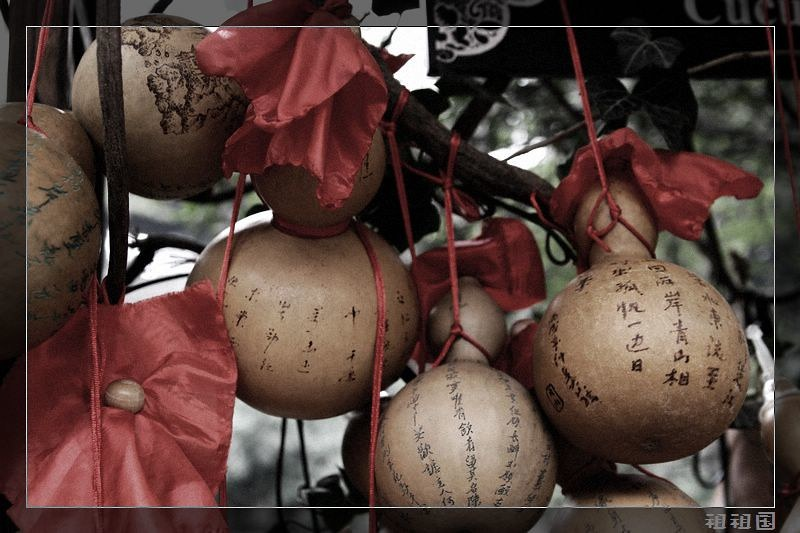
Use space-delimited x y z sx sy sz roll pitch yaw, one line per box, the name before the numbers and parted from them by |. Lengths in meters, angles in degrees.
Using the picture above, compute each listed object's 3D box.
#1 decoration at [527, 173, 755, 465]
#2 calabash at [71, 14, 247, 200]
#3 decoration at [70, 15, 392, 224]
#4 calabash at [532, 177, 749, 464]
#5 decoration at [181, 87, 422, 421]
decoration | 0.291 0.091 1.076 0.218 0.353 0.237 -11 -19 17
calabash | -0.293 -0.197 1.077 0.190 0.242 0.186 -4 17 -26
decoration | -0.214 -0.183 1.081 0.274 0.166 0.265 21 5 -2
calabash | 0.281 0.050 1.052 0.232 0.380 0.251 -9 -7 27
decoration | -0.150 -0.041 1.160 0.296 0.453 0.307 10 9 31
